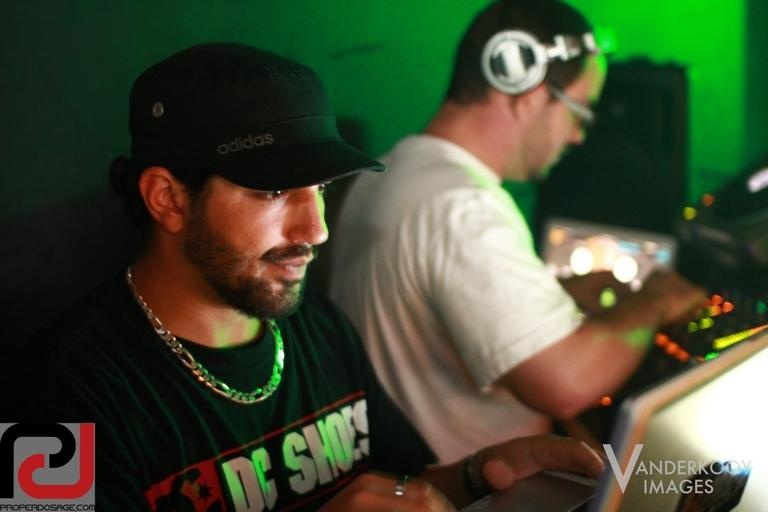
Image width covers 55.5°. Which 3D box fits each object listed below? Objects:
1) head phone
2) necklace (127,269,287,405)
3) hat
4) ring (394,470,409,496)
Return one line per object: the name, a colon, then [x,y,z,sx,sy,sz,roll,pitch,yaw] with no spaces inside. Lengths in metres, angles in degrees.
head phone: [0.418,-0.514,1.988,0.236,0.125,0.172,-5,3,-24]
necklace: [-0.478,0.232,1.876,0.032,0.397,0.306,-23,10,45]
hat: [-0.333,-0.374,1.906,0.683,0.323,0.511,8,21,25]
ring: [0.032,0.555,1.776,0.016,0.015,0.060,3,22,9]
